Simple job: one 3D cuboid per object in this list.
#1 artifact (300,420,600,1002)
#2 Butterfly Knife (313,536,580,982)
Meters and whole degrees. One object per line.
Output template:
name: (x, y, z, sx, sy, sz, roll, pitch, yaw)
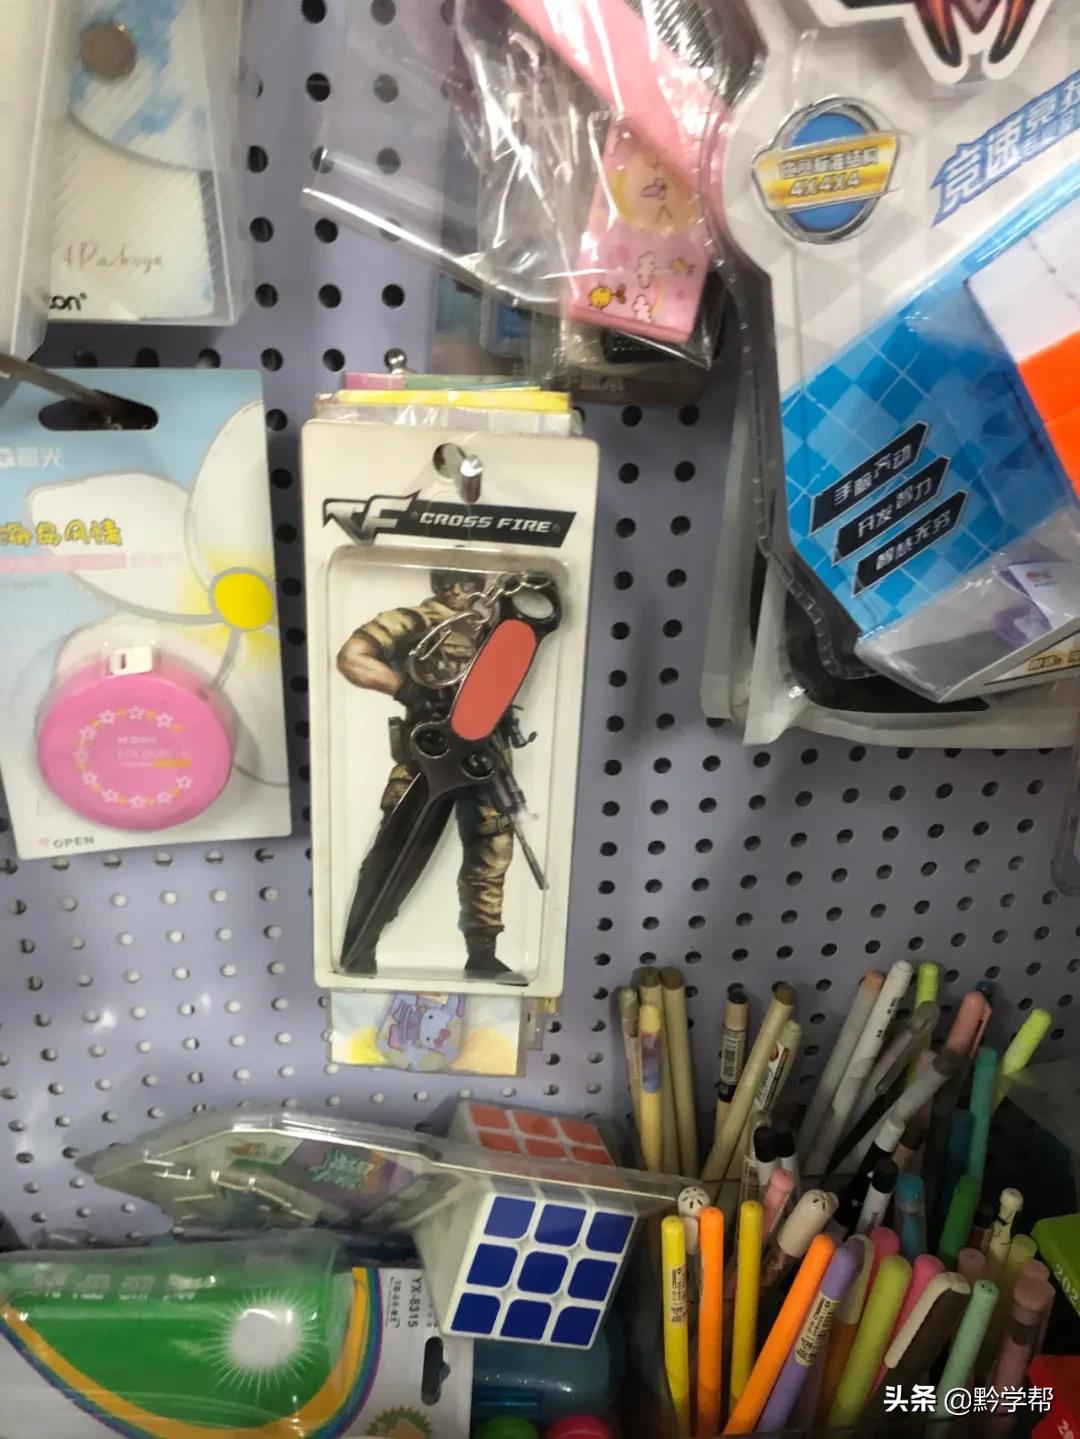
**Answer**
artifact: (-0.036, -0.007, 0.483, 0.129, 0.272, 0.096, 3, 11, -1)
Butterfly Knife: (-0.041, 0.026, 0.494, 0.093, 0.170, 0.031, 3, -9, -20)
